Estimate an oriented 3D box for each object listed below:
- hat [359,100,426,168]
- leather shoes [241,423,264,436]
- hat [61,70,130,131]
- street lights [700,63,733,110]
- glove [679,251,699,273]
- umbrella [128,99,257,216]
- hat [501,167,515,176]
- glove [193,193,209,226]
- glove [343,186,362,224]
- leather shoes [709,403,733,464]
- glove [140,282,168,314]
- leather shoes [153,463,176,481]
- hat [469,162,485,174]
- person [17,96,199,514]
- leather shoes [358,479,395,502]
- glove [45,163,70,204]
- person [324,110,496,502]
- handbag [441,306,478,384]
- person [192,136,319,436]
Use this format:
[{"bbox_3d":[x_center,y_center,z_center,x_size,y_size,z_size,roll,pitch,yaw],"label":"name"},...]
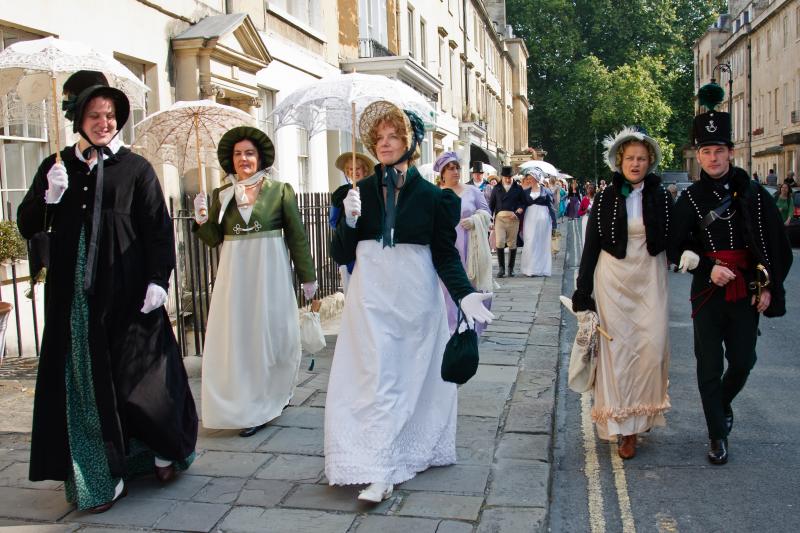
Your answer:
[{"bbox_3d":[-0.038,-1.003,5.665,0.396,0.524,0.276,6,35,10],"label":"hat"},{"bbox_3d":[-1.258,1.417,6.490,0.068,0.077,0.198,-6,-11,40],"label":"leather shoes"},{"bbox_3d":[-2.134,-1.103,5.355,0.402,0.503,0.261,-19,44,-18],"label":"hat"},{"bbox_3d":[2.691,-1.491,6.479,0.288,0.477,0.190,1,14,26],"label":"street lights"},{"bbox_3d":[2.252,-0.053,6.058,0.179,0.174,0.262,-3,10,18],"label":"glove"},{"bbox_3d":[-2.021,-1.287,7.664,1.193,0.735,1.136,3,48,-14],"label":"umbrella"},{"bbox_3d":[2.312,-2.065,16.302,0.295,0.138,0.254,-11,14,-39],"label":"hat"},{"bbox_3d":[-1.725,-0.508,6.583,0.075,0.237,0.173,-1,1,-38],"label":"glove"},{"bbox_3d":[-0.347,-0.441,5.528,0.125,0.274,0.207,0,11,-6],"label":"glove"},{"bbox_3d":[2.606,1.364,6.077,0.153,0.477,0.211,4,-26,32],"label":"leather shoes"},{"bbox_3d":[-1.733,0.226,5.351,0.181,0.232,0.175,-3,12,-19],"label":"glove"},{"bbox_3d":[-1.723,1.531,5.602,0.143,0.118,0.119,-3,-3,31],"label":"leather shoes"},{"bbox_3d":[1.544,-1.947,14.675,0.290,0.170,0.279,-7,10,-19],"label":"hat"},{"bbox_3d":[-2.066,0.213,5.307,1.088,2.917,0.684,-6,13,-30],"label":"person"},{"bbox_3d":[-0.162,1.570,5.300,0.156,0.079,0.204,1,2,22],"label":"leather shoes"},{"bbox_3d":[-2.366,-0.581,5.239,0.154,0.303,0.183,-4,12,-24],"label":"glove"},{"bbox_3d":[-0.009,0.233,5.417,1.040,2.787,0.918,0,12,-5],"label":"person"},{"bbox_3d":[0.413,0.593,5.295,0.237,0.594,0.326,1,11,3],"label":"handbag"},{"bbox_3d":[-1.230,0.108,6.546,1.000,2.612,0.774,-2,12,-15],"label":"person"}]
